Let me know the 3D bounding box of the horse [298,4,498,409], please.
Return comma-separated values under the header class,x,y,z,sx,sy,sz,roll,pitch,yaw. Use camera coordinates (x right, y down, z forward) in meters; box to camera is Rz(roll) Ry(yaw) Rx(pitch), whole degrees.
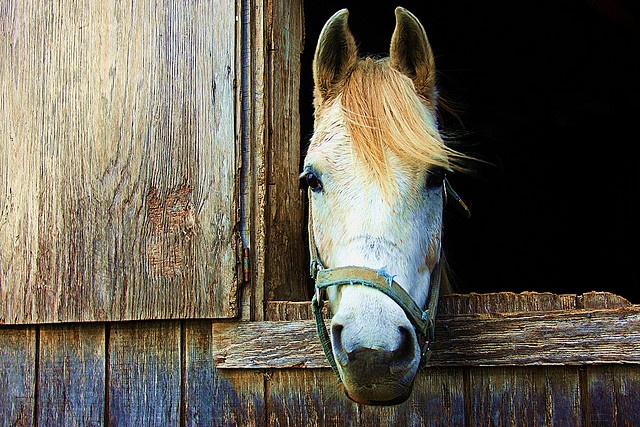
class,x,y,z,sx,sy,sz,roll,pitch,yaw
horse,0.526,-0.331,10.111,1.013,3.686,2.095,1,-6,1
